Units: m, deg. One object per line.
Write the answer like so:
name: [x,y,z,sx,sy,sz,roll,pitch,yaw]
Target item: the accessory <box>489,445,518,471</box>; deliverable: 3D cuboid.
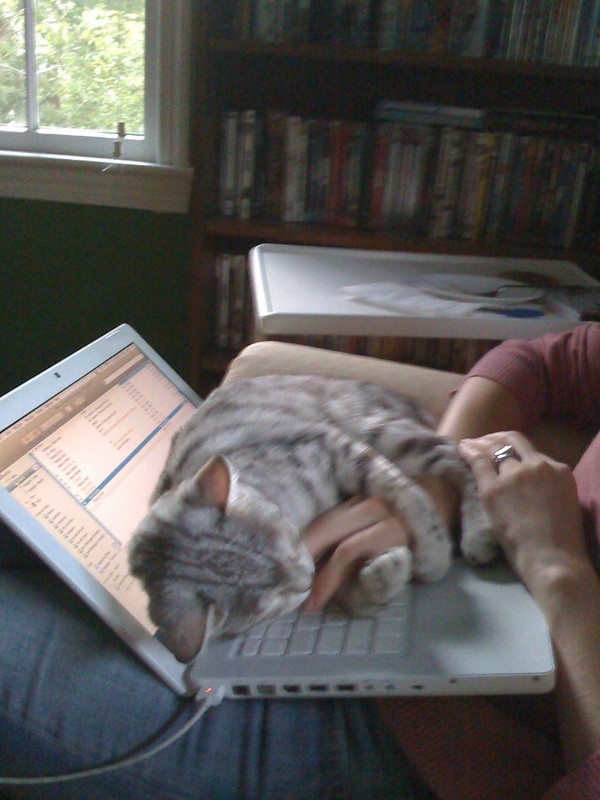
accessory: [0.142,0.040,0.473,0.015,0.007,0.019,-2,30,28]
